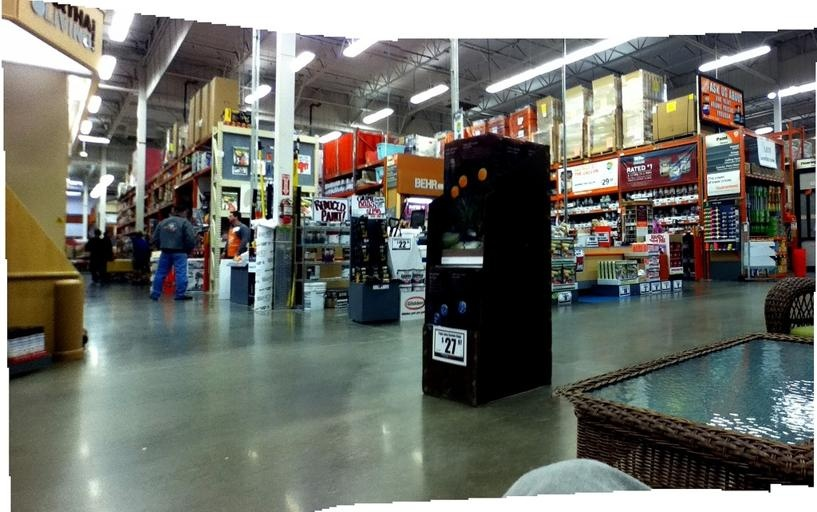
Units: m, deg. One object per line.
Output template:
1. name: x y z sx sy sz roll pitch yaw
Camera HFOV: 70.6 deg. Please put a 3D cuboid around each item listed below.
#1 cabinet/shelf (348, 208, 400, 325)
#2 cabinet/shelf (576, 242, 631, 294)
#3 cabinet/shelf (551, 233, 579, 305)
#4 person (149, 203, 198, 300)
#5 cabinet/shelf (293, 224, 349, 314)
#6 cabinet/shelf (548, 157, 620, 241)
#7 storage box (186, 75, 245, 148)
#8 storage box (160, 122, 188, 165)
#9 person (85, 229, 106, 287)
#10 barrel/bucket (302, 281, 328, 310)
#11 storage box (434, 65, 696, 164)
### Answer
1. cabinet/shelf: -0.374 0.146 6.678 0.574 1.149 0.426 2 1 -24
2. cabinet/shelf: 3.168 0.105 9.693 1.230 0.743 0.643 -2 9 -9
3. cabinet/shelf: 2.229 0.277 8.525 0.294 0.778 0.538 -10 -5 23
4. person: -3.655 -0.062 9.075 0.694 1.495 0.498 0 -5 12
5. cabinet/shelf: -1.230 0.174 7.988 0.343 1.024 1.190 -4 -5 33
6. cabinet/shelf: 4.606 -1.367 13.772 0.683 1.881 2.072 -12 4 -24
7. storage box: -4.020 -2.981 11.986 0.856 1.329 1.944 -3 7 -28
8. storage box: -5.893 -2.908 14.590 0.436 0.662 0.741 3 16 -18
9. person: -7.618 0.009 14.139 0.368 1.267 1.957 -3 7 -29
10. barrel/bucket: -1.223 0.525 7.744 0.382 0.360 0.275 -4 7 -32
11. storage box: 4.306 -3.133 13.075 3.678 1.868 1.941 0 6 0
